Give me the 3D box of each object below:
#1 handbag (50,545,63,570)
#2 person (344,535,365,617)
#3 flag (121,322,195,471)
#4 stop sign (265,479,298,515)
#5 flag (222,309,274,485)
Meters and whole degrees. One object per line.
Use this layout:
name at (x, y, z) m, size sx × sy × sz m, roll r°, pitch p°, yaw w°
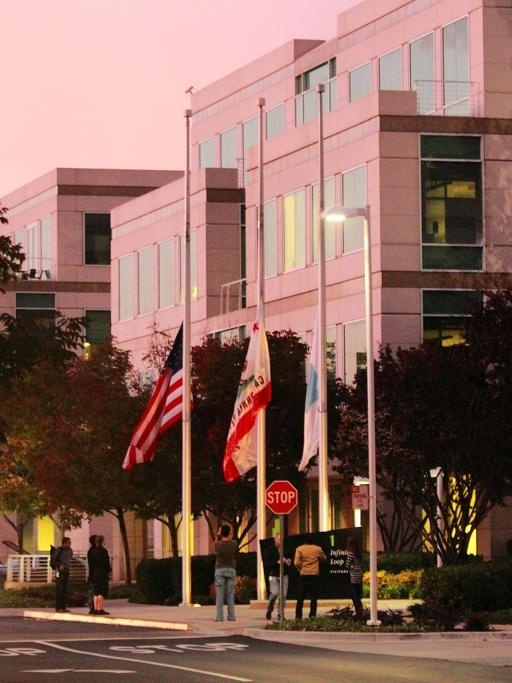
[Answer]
handbag at (-4.111, 4.430, 38.351) m, size 0.225 × 0.456 × 0.695 m, roll -1°, pitch -11°, yaw -8°
person at (1.758, 4.343, 34.066) m, size 0.243 × 1.572 × 0.316 m, roll 3°, pitch 12°, yaw 38°
flag at (-2.204, 1.139, 41.133) m, size 1.467 × 3.156 × 0.738 m, roll 3°, pitch -10°, yaw -28°
stop sign at (0.461, 2.992, 35.704) m, size 0.521 × 0.705 × 1.358 m, roll -2°, pitch -11°, yaw -1°
flag at (-0.235, 1.386, 39.256) m, size 0.652 × 3.977 × 0.783 m, roll 5°, pitch -8°, yaw -29°
